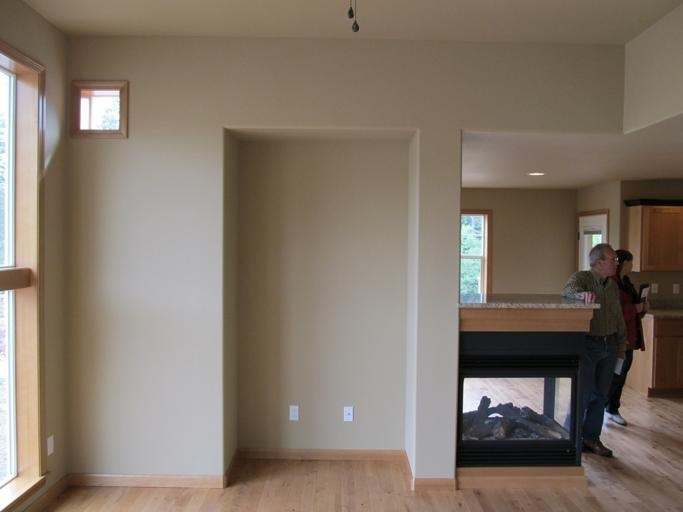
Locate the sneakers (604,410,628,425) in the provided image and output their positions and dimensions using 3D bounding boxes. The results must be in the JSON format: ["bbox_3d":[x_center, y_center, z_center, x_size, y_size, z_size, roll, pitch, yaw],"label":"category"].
[{"bbox_3d":[2.648,1.571,5.590,0.105,0.103,0.294,4,-7,-13],"label":"sneakers"}]

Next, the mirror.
[{"bbox_3d":[-1.831,-1.125,4.387,0.430,0.428,0.137,2,11,11],"label":"mirror"}]

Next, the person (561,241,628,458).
[{"bbox_3d":[2.109,0.808,4.821,0.432,1.799,0.855,10,15,42],"label":"person"}]

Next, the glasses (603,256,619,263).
[{"bbox_3d":[2.241,0.026,4.758,0.174,0.070,0.055,-9,14,-38],"label":"glasses"}]

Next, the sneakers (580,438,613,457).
[{"bbox_3d":[2.196,1.648,4.935,0.210,0.093,0.113,2,-4,30],"label":"sneakers"}]
